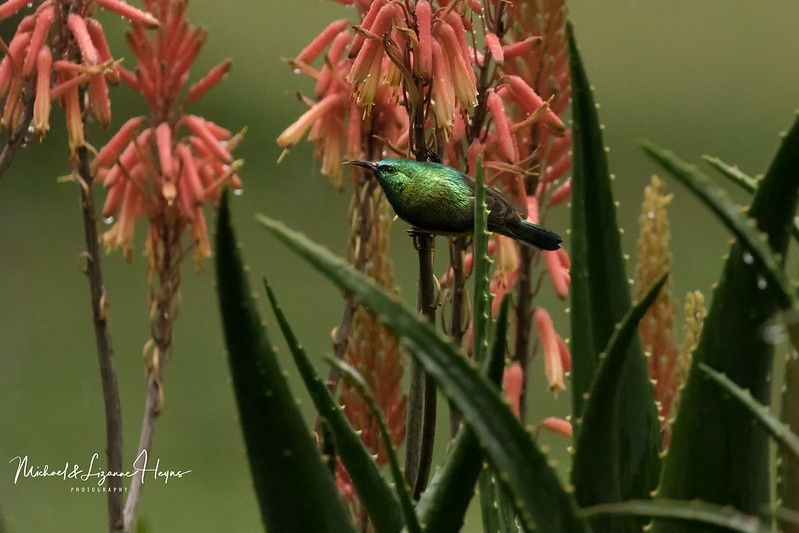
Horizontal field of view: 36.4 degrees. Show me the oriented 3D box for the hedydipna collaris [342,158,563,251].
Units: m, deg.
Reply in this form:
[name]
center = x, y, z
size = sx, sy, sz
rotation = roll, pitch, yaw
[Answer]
[hedydipna collaris]
center = 0.064, -0.068, 1.222
size = 0.216, 0.103, 0.148
rotation = -4, -4, -3
